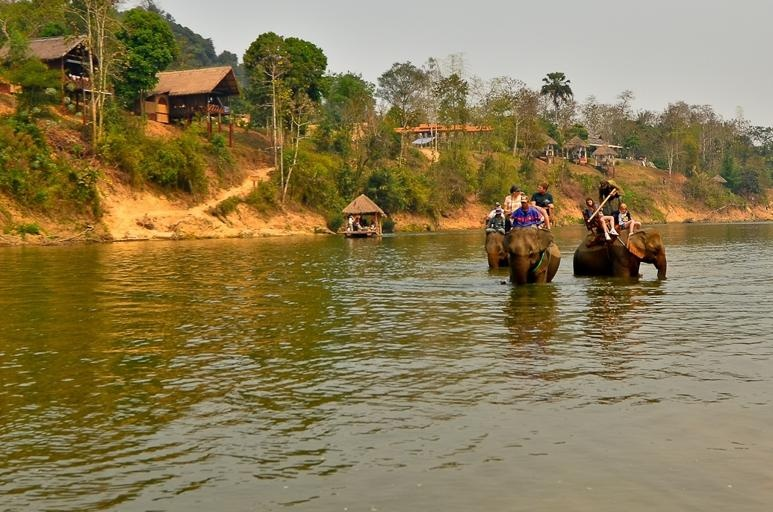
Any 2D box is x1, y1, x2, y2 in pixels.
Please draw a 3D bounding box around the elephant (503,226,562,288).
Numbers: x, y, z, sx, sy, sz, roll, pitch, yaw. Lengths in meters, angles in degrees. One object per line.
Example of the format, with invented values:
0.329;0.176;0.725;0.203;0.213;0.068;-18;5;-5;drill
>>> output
5.089;0.055;27.211;1.837;2.106;0.801;-7;14;-21;elephant
